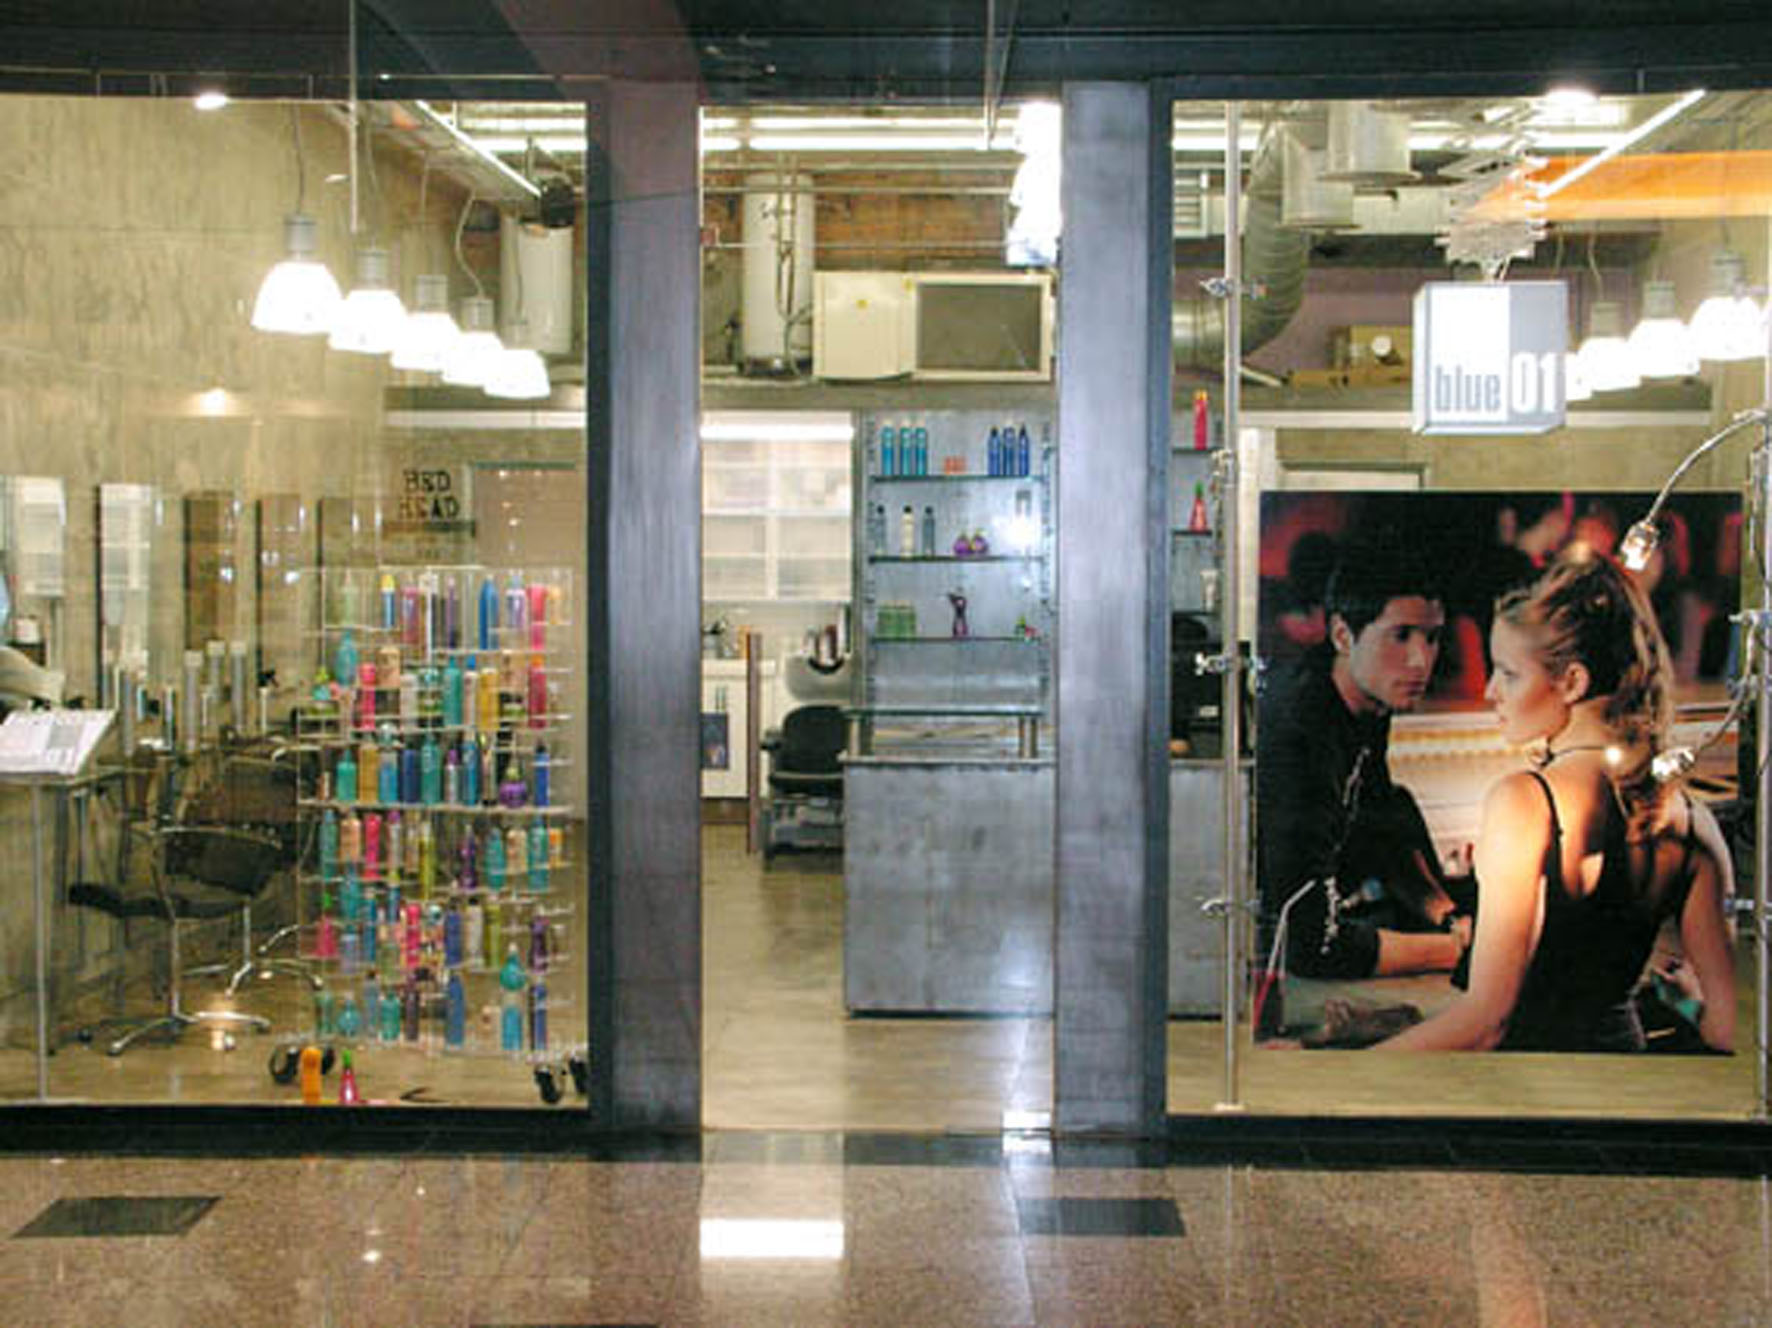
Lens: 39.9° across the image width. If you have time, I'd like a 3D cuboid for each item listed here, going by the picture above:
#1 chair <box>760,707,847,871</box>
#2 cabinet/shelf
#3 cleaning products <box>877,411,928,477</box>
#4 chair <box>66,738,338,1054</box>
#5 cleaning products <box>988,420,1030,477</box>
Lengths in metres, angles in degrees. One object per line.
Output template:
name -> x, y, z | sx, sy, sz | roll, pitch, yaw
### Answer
chair -> -0.436, 0.649, 13.259 | 0.637, 0.881, 0.767 | 0, -6, 1
cabinet/shelf -> 0.456, 0.166, 9.514 | 1.257, 2.471, 3.138 | 0, 13, -2
cleaning products -> 0.060, -0.963, 10.798 | 0.265, 0.369, 0.096 | 1, 1, 5
chair -> -2.353, 0.790, 8.388 | 0.848, 1.010, 0.395 | -2, 12, -7
cleaning products -> 0.523, -0.932, 10.719 | 0.216, 0.316, 0.083 | 1, 1, 5
